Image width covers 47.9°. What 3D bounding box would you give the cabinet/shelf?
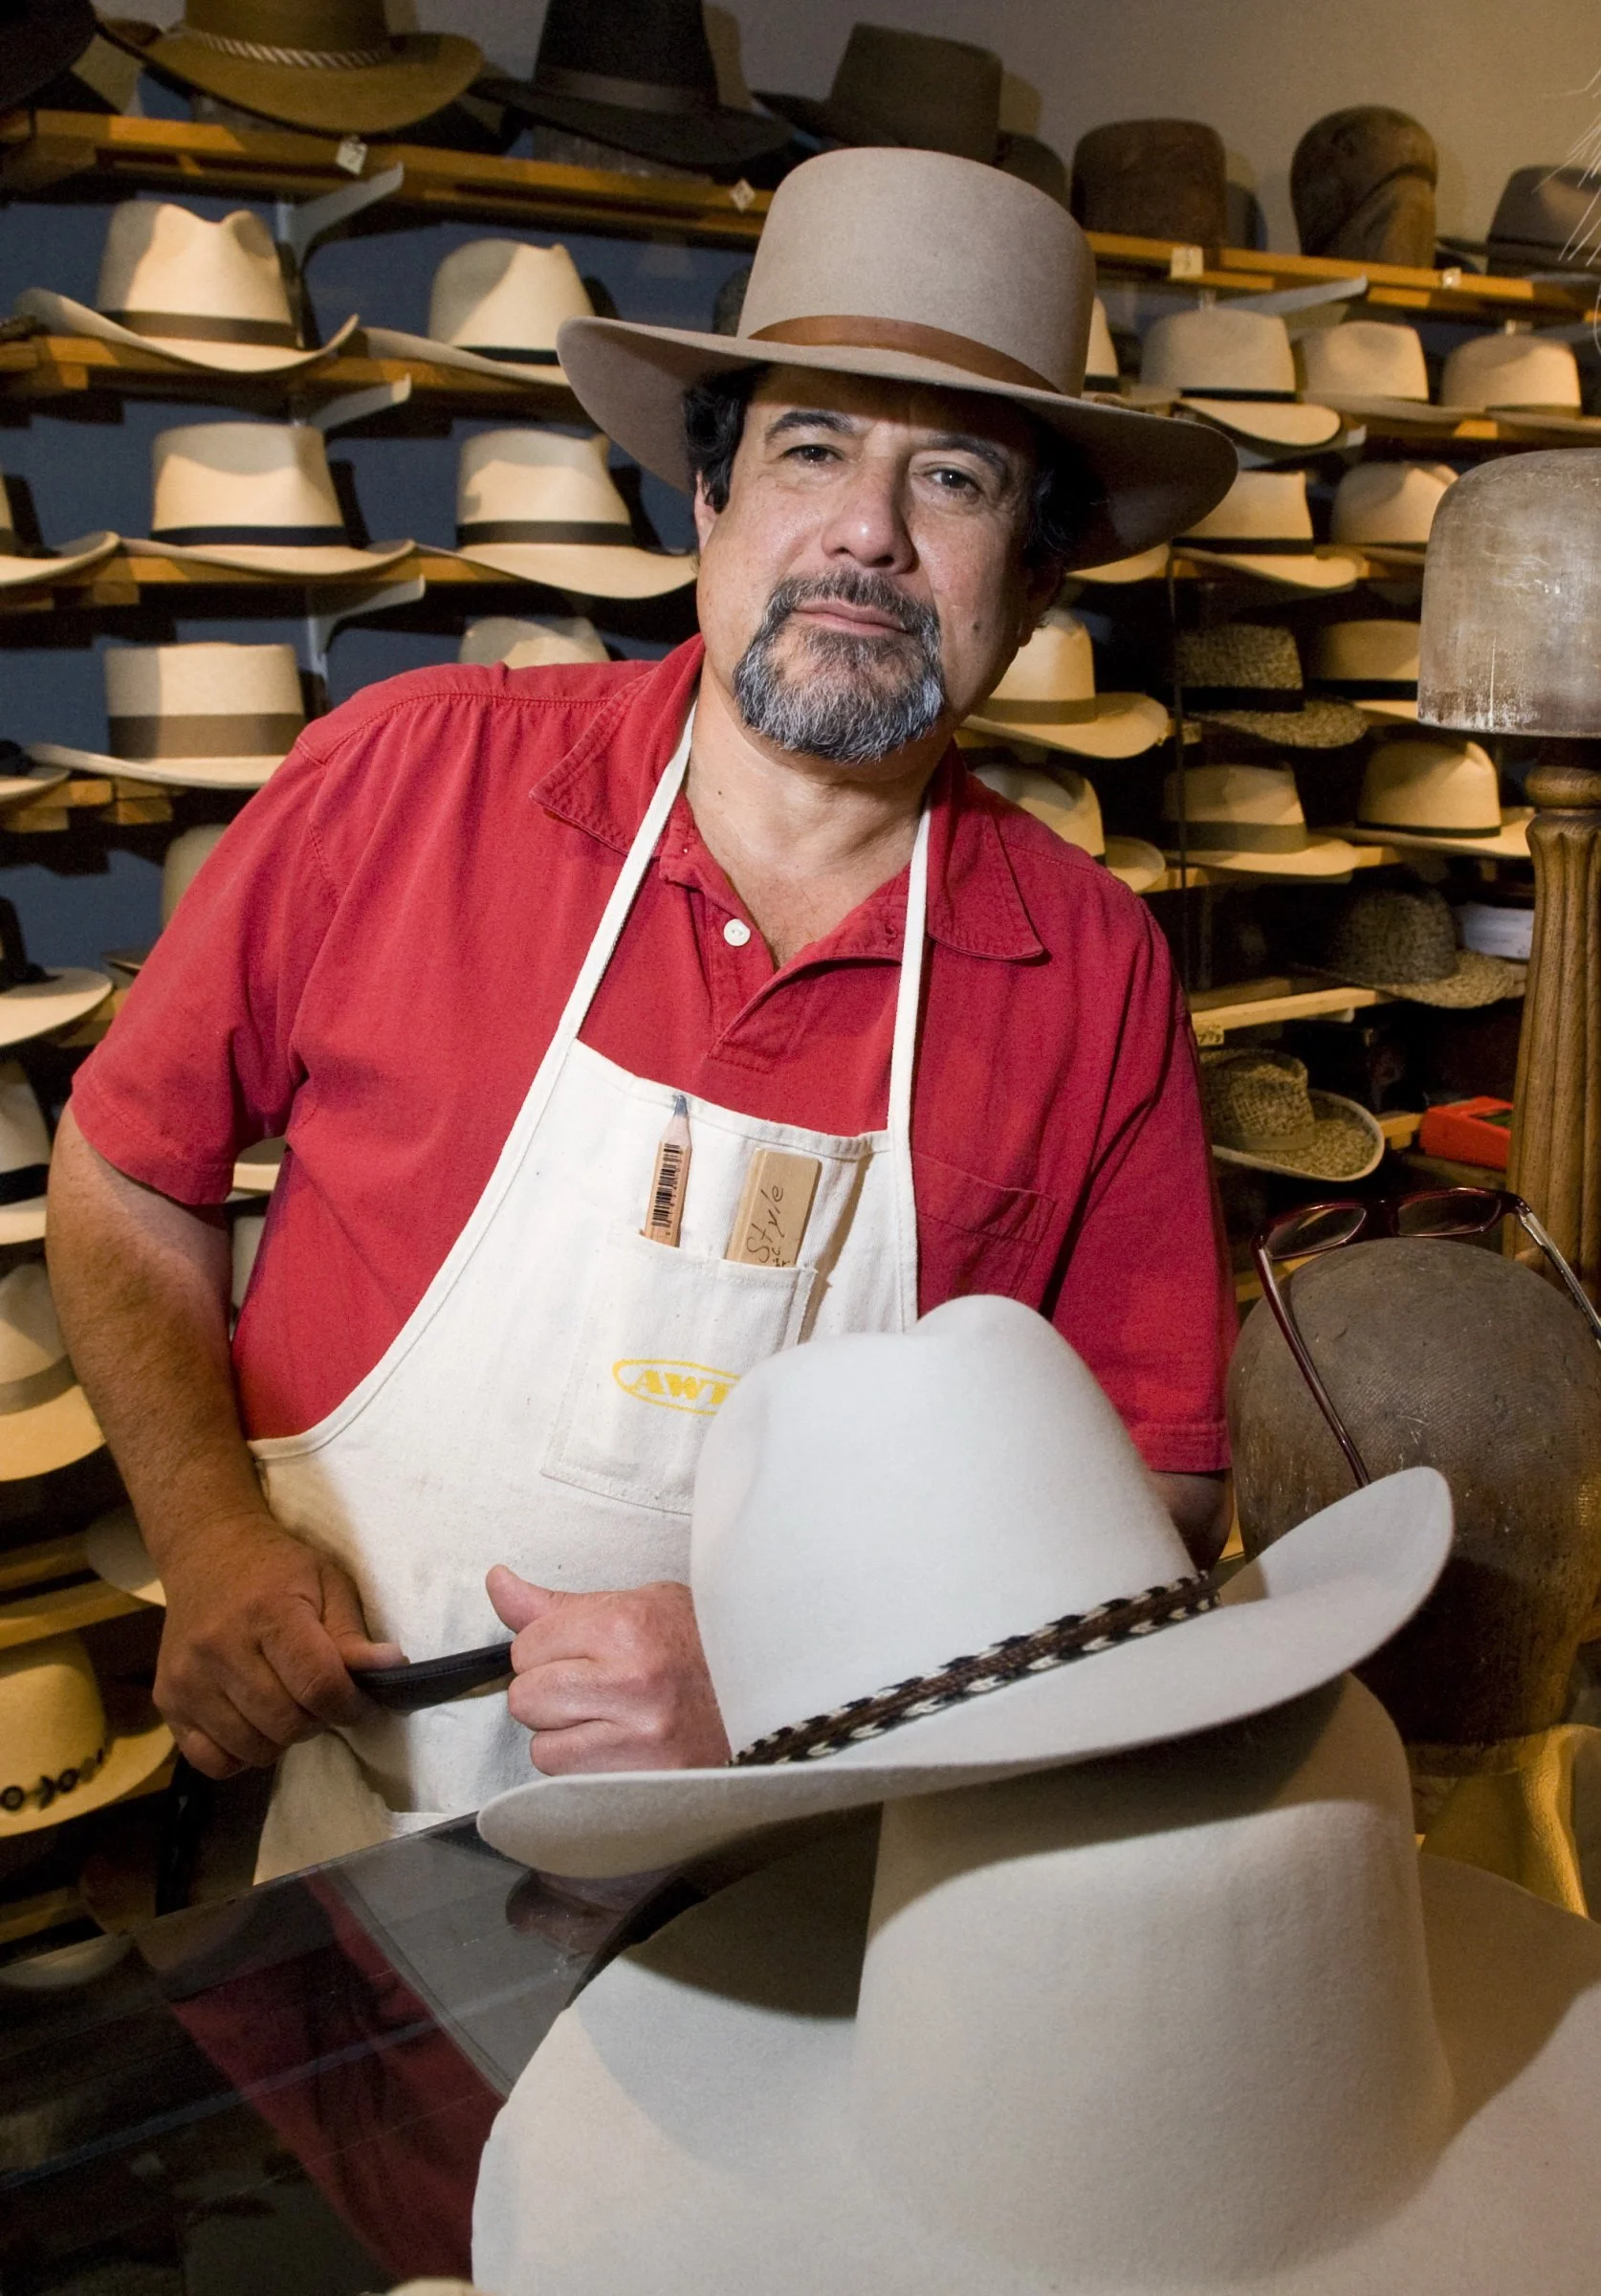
[{"bbox_3d":[-0.119,0.220,1.414,0.963,1.784,0.609,5,16,-11],"label":"cabinet/shelf"}]

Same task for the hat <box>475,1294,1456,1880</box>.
[{"bbox_3d":[0.032,0.113,0.601,0.229,0.105,0.264,-20,-5,12],"label":"hat"}]

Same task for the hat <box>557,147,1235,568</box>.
[{"bbox_3d":[0.087,-0.534,1.436,0.417,0.160,0.424,13,-5,7],"label":"hat"}]
